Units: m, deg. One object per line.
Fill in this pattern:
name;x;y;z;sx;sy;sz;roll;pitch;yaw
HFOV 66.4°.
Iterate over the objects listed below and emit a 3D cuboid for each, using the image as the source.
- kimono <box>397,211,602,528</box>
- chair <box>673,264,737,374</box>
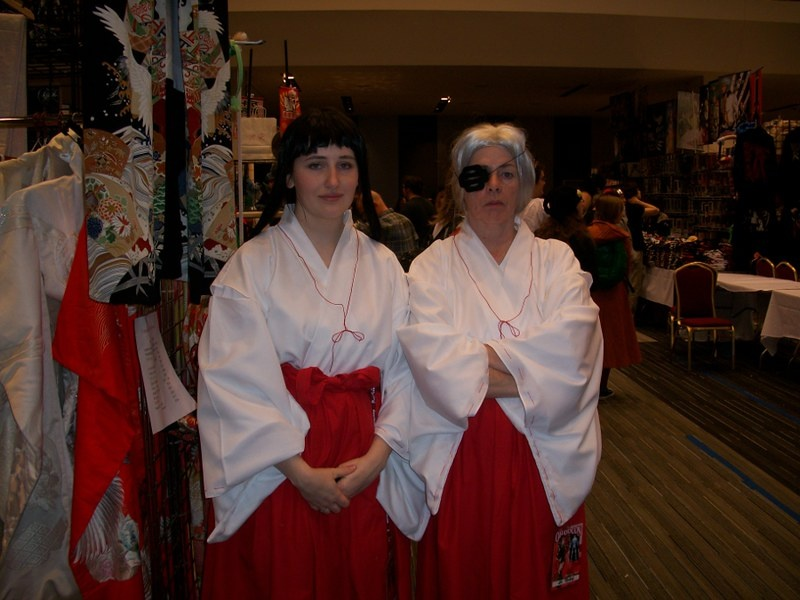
kimono;0.355;0.149;1.848;0.549;0.975;0.262;1;-10;2
chair;2.976;0.104;6.020;0.584;1.010;1.067;4;11;28
